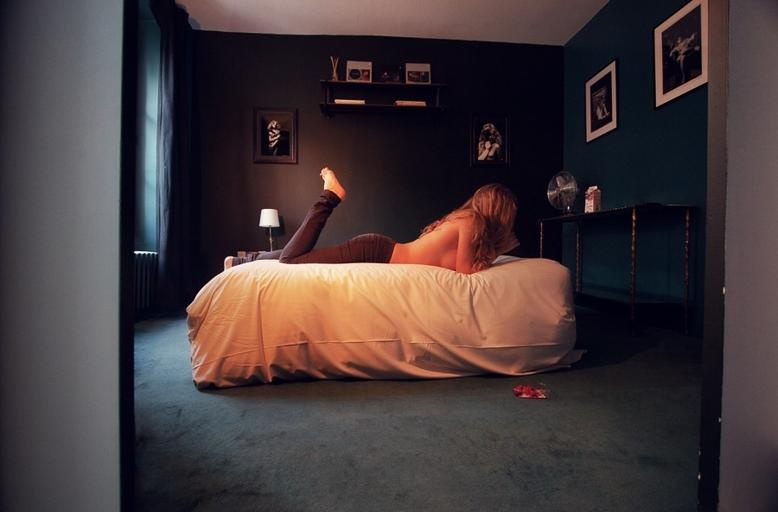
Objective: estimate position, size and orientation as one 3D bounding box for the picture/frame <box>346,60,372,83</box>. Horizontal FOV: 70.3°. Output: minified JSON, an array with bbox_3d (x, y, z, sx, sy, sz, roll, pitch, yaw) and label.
[{"bbox_3d":[-0.295,-1.861,5.562,0.332,0.282,0.204,0,-2,-7],"label":"picture/frame"}]

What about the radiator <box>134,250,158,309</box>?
[{"bbox_3d":[-1.918,0.195,4.347,0.113,0.474,0.312,-2,-2,-3],"label":"radiator"}]

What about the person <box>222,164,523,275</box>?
[{"bbox_3d":[-0.075,-0.179,3.216,1.669,0.635,0.429,-1,-3,-6],"label":"person"}]
